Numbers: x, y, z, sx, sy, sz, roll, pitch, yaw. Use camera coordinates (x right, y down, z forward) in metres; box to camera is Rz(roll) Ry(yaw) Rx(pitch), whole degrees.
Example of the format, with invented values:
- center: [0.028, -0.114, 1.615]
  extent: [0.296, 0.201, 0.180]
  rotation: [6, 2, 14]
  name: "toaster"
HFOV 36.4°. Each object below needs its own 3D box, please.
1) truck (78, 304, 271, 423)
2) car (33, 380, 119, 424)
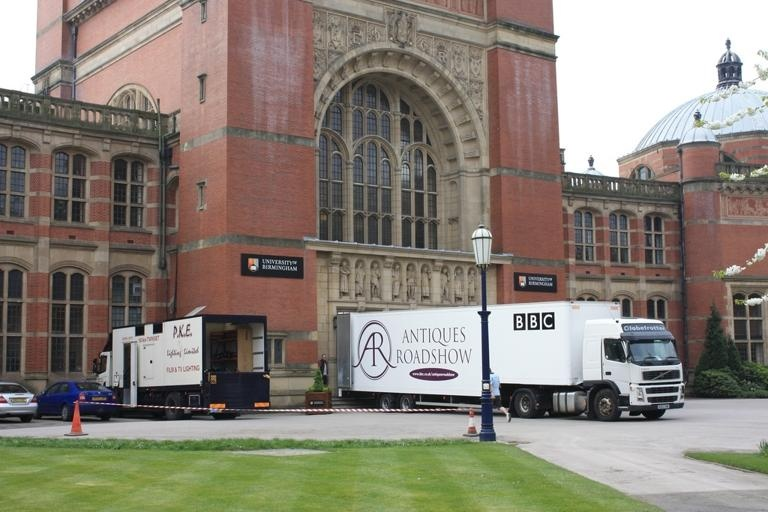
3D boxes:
- center: [-8.797, 5.096, 52.875]
  extent: [6.981, 4.503, 3.408]
  rotation: [-11, -14, 40]
  name: "truck"
- center: [-13.978, 6.412, 52.723]
  extent: [3.716, 1.215, 1.738]
  rotation: [-4, -7, 43]
  name: "car"
